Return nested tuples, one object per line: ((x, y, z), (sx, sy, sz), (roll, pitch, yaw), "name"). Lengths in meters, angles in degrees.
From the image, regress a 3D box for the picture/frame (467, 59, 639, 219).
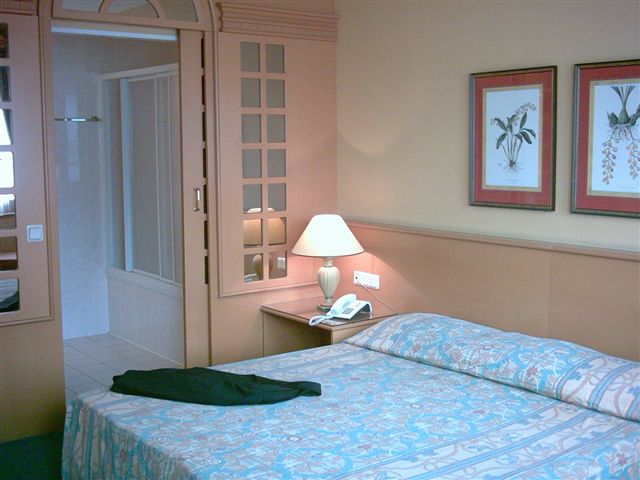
((1.375, -0.590, 2.670), (0.044, 0.737, 1.044), (-3, 4, -42), "picture/frame")

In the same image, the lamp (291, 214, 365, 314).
((0.022, 0.130, 3.702), (0.691, 0.812, 0.651), (-3, 9, -26), "lamp")

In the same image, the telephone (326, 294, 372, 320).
((0.227, 0.481, 3.374), (0.231, 0.098, 0.192), (-5, 6, -41), "telephone")
